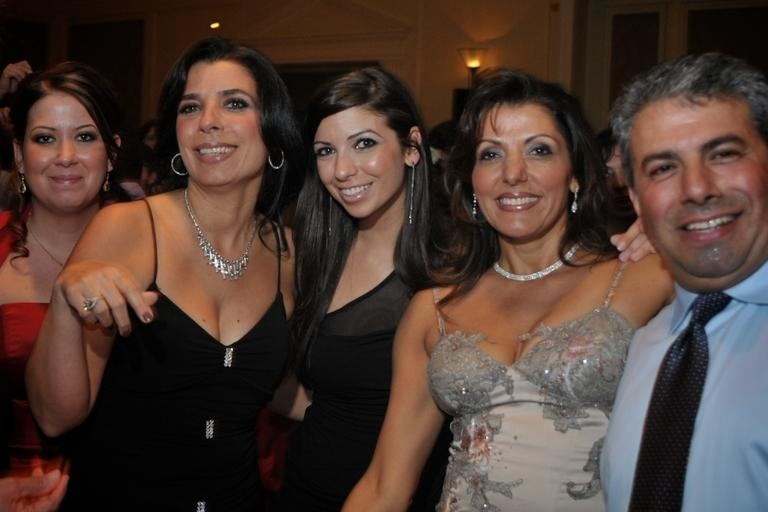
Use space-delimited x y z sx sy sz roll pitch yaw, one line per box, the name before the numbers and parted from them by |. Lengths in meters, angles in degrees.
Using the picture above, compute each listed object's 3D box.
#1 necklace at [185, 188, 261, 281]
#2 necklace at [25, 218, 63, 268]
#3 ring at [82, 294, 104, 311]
necklace | -0.776 -0.103 3.086 0.310 0.469 0.091 -1 -23 -43
necklace | -1.743 -0.029 3.296 0.043 0.319 0.097 -24 14 45
ring | -1.132 0.187 2.457 0.029 0.048 0.062 31 56 15
